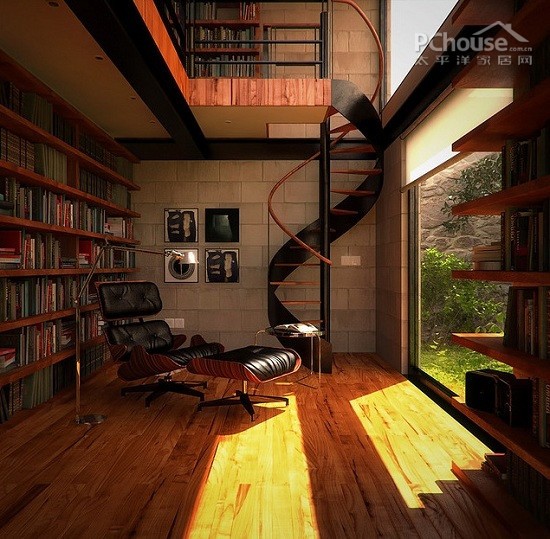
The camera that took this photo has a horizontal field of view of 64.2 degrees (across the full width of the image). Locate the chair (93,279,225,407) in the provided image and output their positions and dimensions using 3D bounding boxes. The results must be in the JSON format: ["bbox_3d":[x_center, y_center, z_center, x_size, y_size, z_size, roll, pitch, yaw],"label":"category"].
[{"bbox_3d":[-1.159,0.629,4.373,1.215,1.257,1.038,-1,-2,27],"label":"chair"}]

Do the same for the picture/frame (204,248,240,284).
[{"bbox_3d":[-0.723,-0.037,5.980,0.495,0.447,0.050,0,-4,1],"label":"picture/frame"}]

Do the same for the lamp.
[{"bbox_3d":[-1.624,0.435,4.286,0.593,1.449,2.125,0,0,-24],"label":"lamp"}]

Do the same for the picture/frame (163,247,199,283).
[{"bbox_3d":[-1.170,-0.040,5.527,0.515,0.483,0.050,0,-1,-1],"label":"picture/frame"}]

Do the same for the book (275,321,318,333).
[{"bbox_3d":[0.231,0.564,4.194,0.352,0.066,0.290,0,0,-44],"label":"book"}]

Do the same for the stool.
[{"bbox_3d":[-0.272,0.803,3.556,0.583,0.365,0.735,-2,-3,23],"label":"stool"}]
